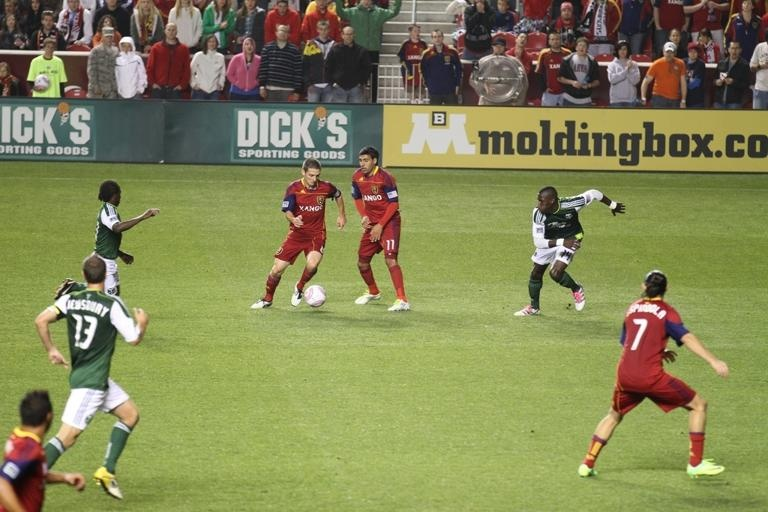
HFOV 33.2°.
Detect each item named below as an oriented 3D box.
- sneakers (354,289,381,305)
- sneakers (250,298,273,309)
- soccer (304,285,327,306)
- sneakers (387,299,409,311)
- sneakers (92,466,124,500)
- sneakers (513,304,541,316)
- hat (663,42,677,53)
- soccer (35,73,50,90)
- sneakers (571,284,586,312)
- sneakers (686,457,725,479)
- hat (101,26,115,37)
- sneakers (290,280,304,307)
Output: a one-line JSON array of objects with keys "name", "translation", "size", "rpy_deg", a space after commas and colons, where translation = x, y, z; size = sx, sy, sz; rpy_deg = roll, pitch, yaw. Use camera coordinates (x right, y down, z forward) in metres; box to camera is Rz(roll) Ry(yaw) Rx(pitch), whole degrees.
[{"name": "sneakers", "translation": [-0.348, 0.887, 26.239], "size": [0.571, 0.253, 0.211], "rpy_deg": [-14, 27, 4]}, {"name": "sneakers", "translation": [-2.449, 0.965, 25.772], "size": [0.417, 0.159, 0.175], "rpy_deg": [-2, 16, -16]}, {"name": "soccer", "translation": [-1.377, 0.801, 25.484], "size": [0.423, 0.388, 0.415], "rpy_deg": [2, 15, -44]}, {"name": "sneakers", "translation": [0.252, 1.005, 25.843], "size": [0.527, 0.222, 0.176], "rpy_deg": [-1, 6, -4]}, {"name": "sneakers", "translation": [-4.120, 3.368, 19.114], "size": [0.298, 0.668, 0.240], "rpy_deg": [-18, 45, 18]}, {"name": "sneakers", "translation": [2.812, 1.109, 25.620], "size": [0.559, 0.209, 0.196], "rpy_deg": [0, 5, 0]}, {"name": "hat", "translation": [7.907, -5.796, 35.884], "size": [0.296, 0.199, 0.400], "rpy_deg": [1, 7, 5]}, {"name": "soccer", "translation": [-9.681, -4.903, 36.505], "size": [0.437, 0.392, 0.190], "rpy_deg": [1, 5, 4]}, {"name": "sneakers", "translation": [3.839, 0.838, 25.705], "size": [0.212, 0.571, 0.264], "rpy_deg": [1, -4, 28]}, {"name": "sneakers", "translation": [4.892, 3.267, 19.691], "size": [0.561, 0.261, 0.280], "rpy_deg": [-3, 3, 5]}, {"name": "hat", "translation": [-7.726, -6.292, 36.197], "size": [0.328, 0.241, 0.411], "rpy_deg": [0, 8, -10]}, {"name": "sneakers", "translation": [-1.739, 0.771, 25.905], "size": [0.195, 0.512, 0.233], "rpy_deg": [2, 7, -17]}]
